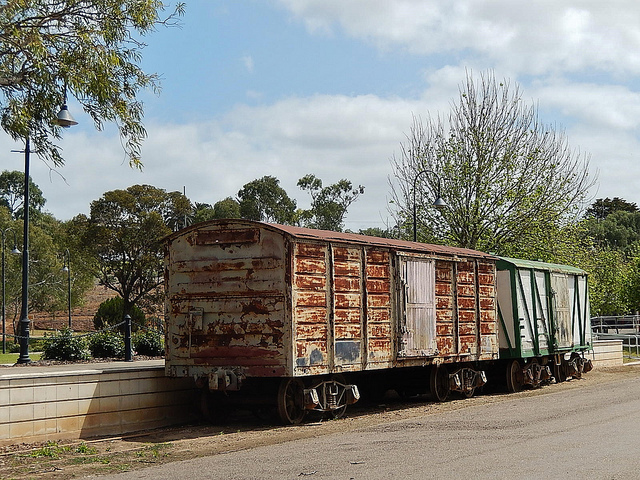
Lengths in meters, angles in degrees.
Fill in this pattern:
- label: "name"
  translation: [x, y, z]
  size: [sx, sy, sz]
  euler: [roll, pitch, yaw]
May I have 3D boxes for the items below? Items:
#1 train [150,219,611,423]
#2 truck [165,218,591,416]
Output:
- label: "train"
  translation: [4.425, 2.372, 23.300]
  size: [4.893, 6.852, 22.320]
  euler: [-7, -11, 32]
- label: "truck"
  translation: [3.292, 2.438, 20.327]
  size: [3.627, 4.993, 16.826]
  euler: [-6, -2, 43]
